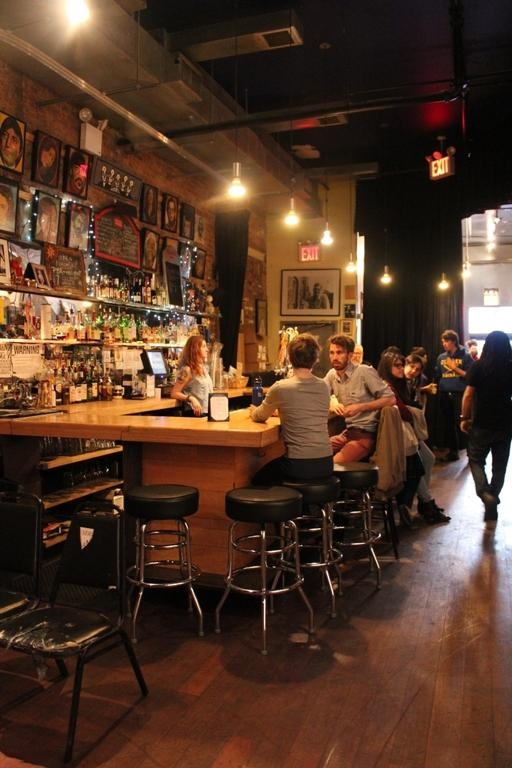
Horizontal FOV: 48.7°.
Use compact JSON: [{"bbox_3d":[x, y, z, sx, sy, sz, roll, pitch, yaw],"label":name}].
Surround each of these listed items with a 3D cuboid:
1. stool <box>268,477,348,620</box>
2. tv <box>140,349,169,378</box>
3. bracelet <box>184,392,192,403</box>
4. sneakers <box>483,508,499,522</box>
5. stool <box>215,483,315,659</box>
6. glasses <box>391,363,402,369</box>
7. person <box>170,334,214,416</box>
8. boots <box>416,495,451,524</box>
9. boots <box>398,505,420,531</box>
[{"bbox_3d":[0.296,0.885,3.375,0.573,1.037,0.611,0,-4,-1],"label":"stool"},{"bbox_3d":[-1.093,-0.227,6.038,0.216,0.317,0.520,-1,-3,-1],"label":"tv"},{"bbox_3d":[-0.618,0.127,5.154,0.030,0.084,0.060,11,-9,-41],"label":"bracelet"},{"bbox_3d":[2.029,1.137,4.929,0.114,0.121,0.091,1,3,5],"label":"sneakers"},{"bbox_3d":[0.044,0.860,3.038,0.503,0.682,1.149,-1,-3,0],"label":"stool"},{"bbox_3d":[1.159,-0.148,4.665,0.066,0.055,0.052,-18,-15,38],"label":"glasses"},{"bbox_3d":[-0.605,-0.083,5.268,0.372,0.760,0.693,0,-3,-6],"label":"person"},{"bbox_3d":[1.481,1.122,4.986,0.383,0.291,0.134,-1,1,-1],"label":"boots"},{"bbox_3d":[1.299,1.144,4.870,0.113,0.291,0.102,4,22,14],"label":"boots"}]
